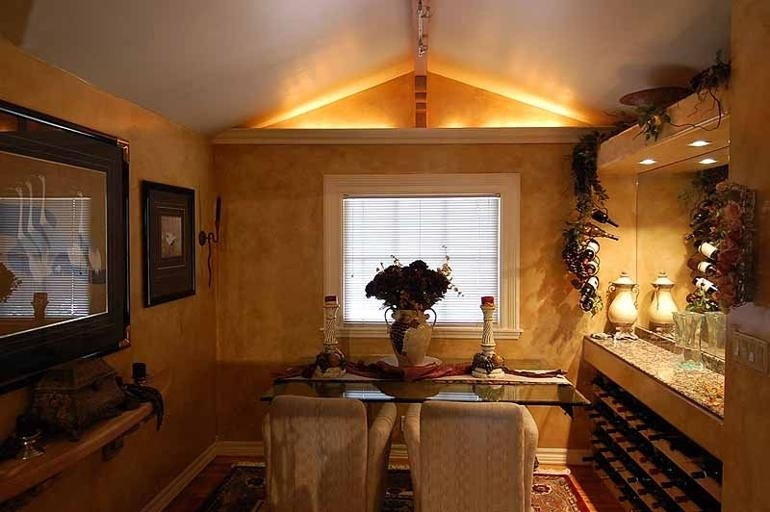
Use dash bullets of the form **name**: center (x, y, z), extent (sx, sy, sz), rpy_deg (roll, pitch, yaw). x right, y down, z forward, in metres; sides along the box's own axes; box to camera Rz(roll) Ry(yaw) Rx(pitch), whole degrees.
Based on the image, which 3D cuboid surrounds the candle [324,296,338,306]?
- **candle**: center (-0.428, 0.347, 4.413), extent (0.080, 0.051, 0.082), rpy_deg (0, -5, -1)

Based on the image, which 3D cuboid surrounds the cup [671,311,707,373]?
- **cup**: center (2.139, 0.603, 4.062), extent (0.179, 0.409, 0.196), rpy_deg (0, 1, 0)

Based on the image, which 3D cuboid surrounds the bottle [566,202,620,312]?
- **bottle**: center (1.734, 0.025, 4.901), extent (0.451, 0.956, 0.334), rpy_deg (0, 1, 11)

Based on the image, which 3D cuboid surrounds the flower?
- **flower**: center (0.230, 0.203, 4.523), extent (0.525, 0.373, 0.541), rpy_deg (0, -5, 27)

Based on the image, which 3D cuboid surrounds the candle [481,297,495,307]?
- **candle**: center (0.769, 0.347, 4.405), extent (0.076, 0.051, 0.079), rpy_deg (1, -2, 23)

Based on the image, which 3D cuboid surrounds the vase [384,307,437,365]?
- **vase**: center (0.186, 0.646, 4.574), extent (0.383, 0.457, 0.367), rpy_deg (3, 0, -39)
